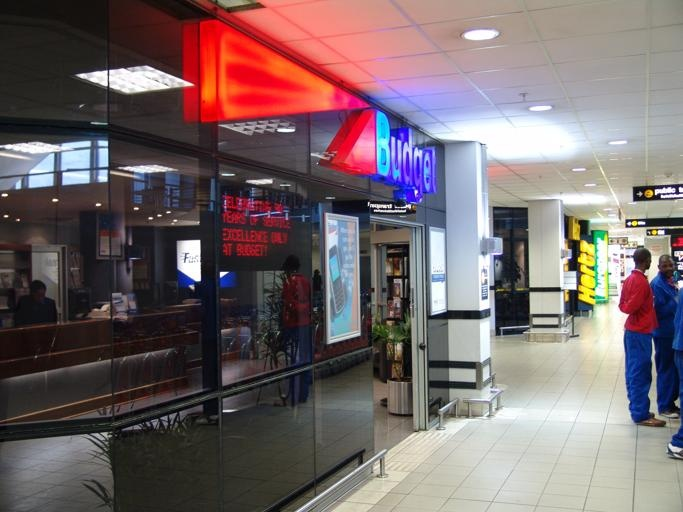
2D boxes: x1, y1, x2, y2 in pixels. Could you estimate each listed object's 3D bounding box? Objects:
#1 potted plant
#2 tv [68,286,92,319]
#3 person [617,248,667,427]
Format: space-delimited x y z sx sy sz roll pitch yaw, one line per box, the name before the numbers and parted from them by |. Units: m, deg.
potted plant | 0.798 1.646 8.310 0.954 1.558 1.756 0 -4 9
tv | -1.495 0.269 3.083 0.103 0.186 0.192 -1 -2 25
person | 4.049 1.060 7.318 0.462 1.718 0.620 -3 -2 27
